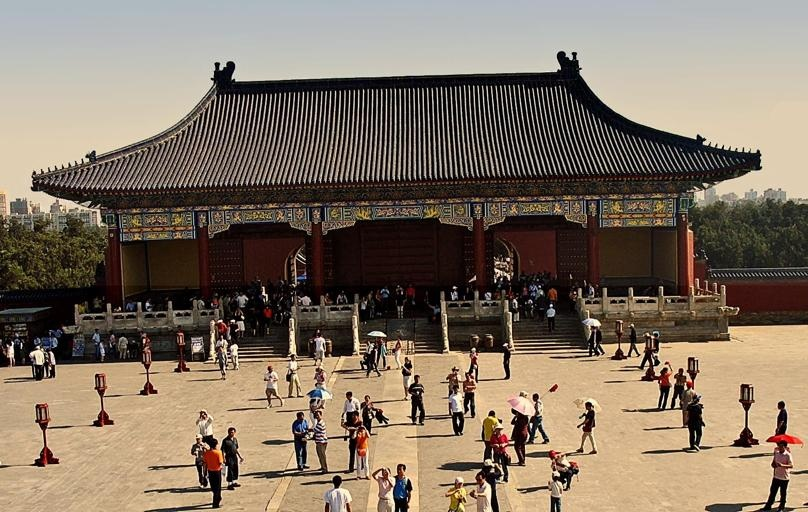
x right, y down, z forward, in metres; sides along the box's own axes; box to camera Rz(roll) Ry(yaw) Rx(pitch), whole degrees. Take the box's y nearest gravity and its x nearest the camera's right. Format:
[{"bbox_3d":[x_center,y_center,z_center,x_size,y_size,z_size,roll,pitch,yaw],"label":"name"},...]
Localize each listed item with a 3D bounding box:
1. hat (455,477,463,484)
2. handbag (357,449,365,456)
[{"bbox_3d":[2.014,8.270,42.163,0.287,0.189,0.411,1,4,15],"label":"hat"},{"bbox_3d":[-1.658,7.812,45.667,0.343,0.267,0.147,-2,-4,-13],"label":"handbag"}]
